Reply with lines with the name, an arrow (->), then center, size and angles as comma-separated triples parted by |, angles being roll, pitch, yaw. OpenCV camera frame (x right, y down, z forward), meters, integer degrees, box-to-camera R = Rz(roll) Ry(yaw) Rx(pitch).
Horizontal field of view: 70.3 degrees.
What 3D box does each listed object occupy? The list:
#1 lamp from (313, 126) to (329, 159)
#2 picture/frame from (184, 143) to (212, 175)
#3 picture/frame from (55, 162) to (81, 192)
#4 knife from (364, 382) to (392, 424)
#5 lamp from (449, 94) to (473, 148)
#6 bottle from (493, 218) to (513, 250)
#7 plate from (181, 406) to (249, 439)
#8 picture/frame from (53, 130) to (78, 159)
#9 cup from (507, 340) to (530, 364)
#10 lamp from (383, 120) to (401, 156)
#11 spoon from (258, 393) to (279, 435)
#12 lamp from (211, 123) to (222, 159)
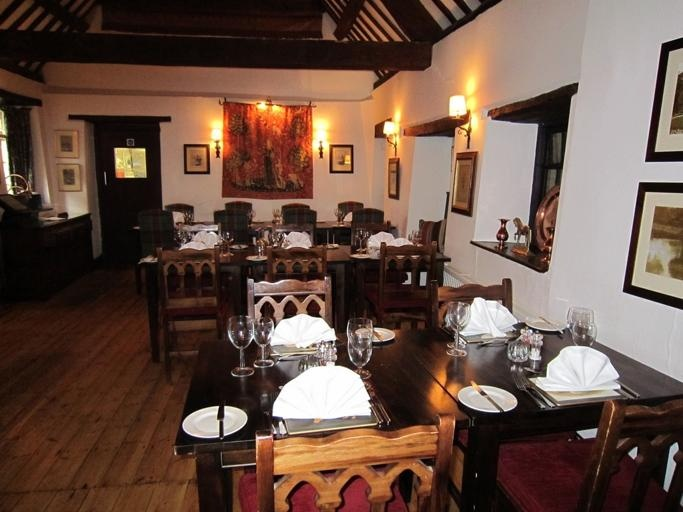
lamp -> -0.344, -1.847, 7.786 | 0.227, 0.546, 0.123 | 0, 8, -4
picture/frame -> -2.256, -1.536, 7.532 | 0.415, 0.547, 0.036 | -2, 9, -17
picture/frame -> -4.126, -1.218, 7.303 | 0.378, 0.548, 0.034 | 0, 7, -12
knife -> 0.158, 0.664, 2.145 | 0.094, 0.026, 0.093 | 11, 32, -40
lamp -> 1.133, -1.284, 4.638 | 0.208, 0.518, 0.302 | 3, 8, 14
bottle -> 1.385, -0.203, 4.180 | 0.105, 0.245, 0.394 | 3, 9, 19
plate -> -0.534, 0.696, 2.051 | 0.269, 0.029, 0.275 | -4, 10, -37
picture/frame -> -4.155, -1.693, 7.266 | 0.369, 0.553, 0.034 | 0, 6, -12
cup -> 0.900, 0.486, 2.530 | 0.105, 0.118, 0.111 | 0, 10, 0
lamp -> 0.688, -1.671, 6.896 | 0.196, 0.456, 0.129 | 5, 8, -3
spoon -> -0.320, 0.681, 2.102 | 0.048, 0.034, 0.216 | 8, 17, -16
lamp -> -1.942, -1.789, 7.520 | 0.152, 0.539, 0.109 | -1, 8, -8
